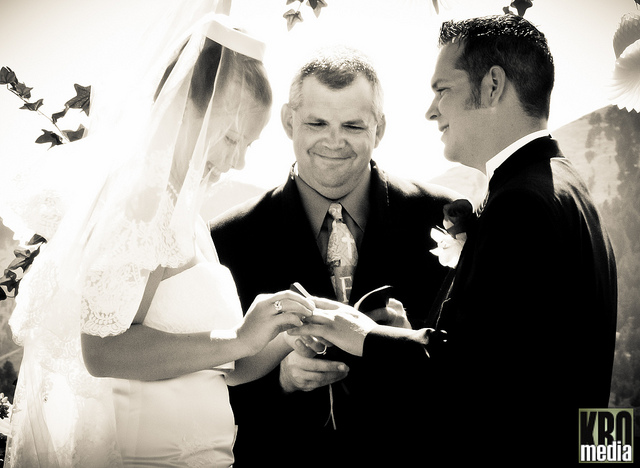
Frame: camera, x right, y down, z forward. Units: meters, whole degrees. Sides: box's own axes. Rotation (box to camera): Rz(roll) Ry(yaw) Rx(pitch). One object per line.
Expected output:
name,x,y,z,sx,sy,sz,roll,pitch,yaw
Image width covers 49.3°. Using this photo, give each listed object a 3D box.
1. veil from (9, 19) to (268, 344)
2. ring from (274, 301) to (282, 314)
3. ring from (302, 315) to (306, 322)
veil,-0.914,-0.267,3.747,1.226,1.714,0.402,-3,-16,18
ring,-0.222,0.385,3.721,0.016,0.048,0.048,-5,-11,-18
ring,-0.088,0.481,3.965,0.008,0.032,0.023,7,21,43
